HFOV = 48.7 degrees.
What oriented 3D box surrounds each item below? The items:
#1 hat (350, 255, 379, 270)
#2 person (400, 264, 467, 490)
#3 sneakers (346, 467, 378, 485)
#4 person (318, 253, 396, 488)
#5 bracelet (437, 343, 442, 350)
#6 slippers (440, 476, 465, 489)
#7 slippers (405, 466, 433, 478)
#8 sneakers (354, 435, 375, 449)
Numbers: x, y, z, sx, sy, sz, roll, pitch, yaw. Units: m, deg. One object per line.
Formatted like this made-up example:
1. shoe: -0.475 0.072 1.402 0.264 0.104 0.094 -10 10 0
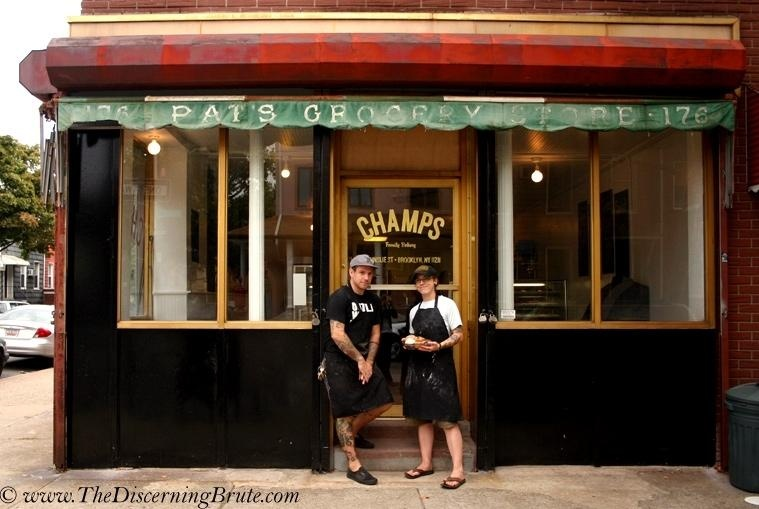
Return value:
1. hat: -0.263 0.087 11.424 0.208 0.121 0.264 6 -13 -32
2. person: 0.737 1.634 11.388 0.820 2.970 0.605 -1 -5 1
3. sneakers: -0.224 2.974 11.285 0.403 0.141 0.179 2 -4 30
4. person: -0.318 1.556 11.333 0.914 3.078 0.351 -1 -5 -5
5. bracelet: 0.821 1.226 11.212 0.054 0.082 0.116 -2 -5 8
6. slippers: 0.982 3.022 11.097 0.272 0.071 0.139 5 -9 -40
7. slippers: 0.538 2.956 11.374 0.353 0.094 0.138 3 -8 -20
8. sneakers: -0.190 2.646 11.770 0.328 0.114 0.118 0 -3 29
